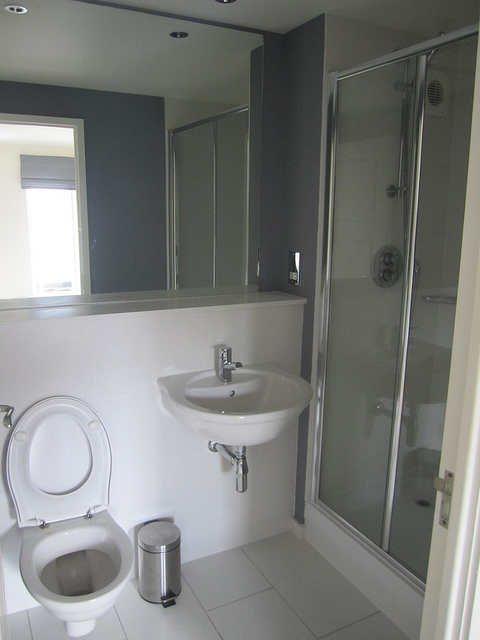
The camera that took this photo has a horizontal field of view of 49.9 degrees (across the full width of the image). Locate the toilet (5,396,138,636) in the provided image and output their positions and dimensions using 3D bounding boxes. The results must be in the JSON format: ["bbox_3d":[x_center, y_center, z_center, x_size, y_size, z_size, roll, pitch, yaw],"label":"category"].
[{"bbox_3d":[-0.501,0.688,1.661,0.417,0.847,0.473,0,13,-23],"label":"toilet"}]

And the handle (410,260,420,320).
[{"bbox_3d":[0.598,-0.103,1.787,0.036,0.201,0.014,0,6,-32],"label":"handle"}]

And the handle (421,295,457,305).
[{"bbox_3d":[0.689,-0.066,1.788,0.115,0.028,0.043,7,11,33],"label":"handle"}]

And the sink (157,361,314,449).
[{"bbox_3d":[-0.006,0.331,1.875,0.515,0.211,0.492,-4,10,-26],"label":"sink"}]

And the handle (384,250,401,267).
[{"bbox_3d":[0.559,-0.223,1.901,0.008,0.052,0.060,-8,12,-44],"label":"handle"}]
